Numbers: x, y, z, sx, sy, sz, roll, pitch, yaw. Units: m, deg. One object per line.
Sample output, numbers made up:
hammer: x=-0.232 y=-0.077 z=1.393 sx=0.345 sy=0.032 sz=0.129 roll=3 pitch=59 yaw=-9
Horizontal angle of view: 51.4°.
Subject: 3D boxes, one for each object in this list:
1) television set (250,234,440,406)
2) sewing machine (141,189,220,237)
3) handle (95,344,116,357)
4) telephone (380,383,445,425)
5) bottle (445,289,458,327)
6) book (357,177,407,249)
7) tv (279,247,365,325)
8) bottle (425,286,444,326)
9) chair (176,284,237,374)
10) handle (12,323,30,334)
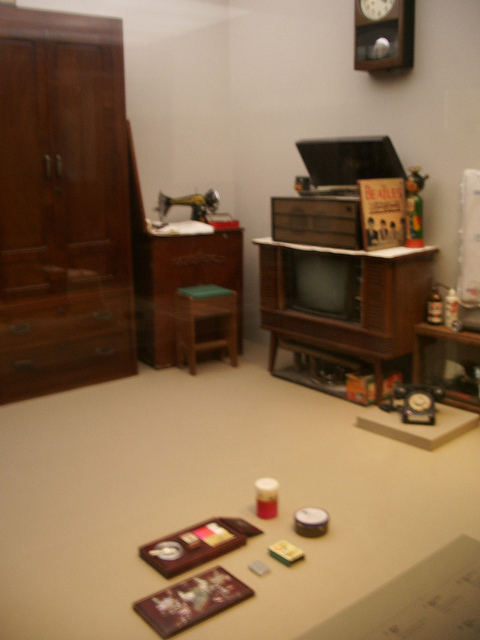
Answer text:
television set: x=0.531 y=-0.003 z=2.237 sx=0.446 sy=0.688 sz=0.902 roll=-12 pitch=18 yaw=-35
sewing machine: x=-0.197 y=-0.358 z=1.672 sx=0.171 sy=0.140 sz=0.146 roll=15 pitch=20 yaw=38
handle: x=-0.310 y=0.071 z=1.148 sx=0.018 sy=0.015 sz=0.074 roll=-13 pitch=-3 yaw=6
telephone: x=0.635 y=0.292 z=1.875 sx=0.154 sy=0.141 sz=0.174 roll=8 pitch=16 yaw=30
bottle: x=0.833 y=-0.042 z=1.971 sx=0.048 sy=0.149 sz=0.142 roll=8 pitch=9 yaw=23
book: x=0.546 y=-0.421 z=1.946 sx=0.226 sy=0.271 sz=0.025 roll=-18 pitch=18 yaw=-26
tv: x=0.414 y=-0.186 z=2.241 sx=0.431 sy=0.309 sz=0.244 roll=13 pitch=27 yaw=36
bottle: x=0.789 y=-0.056 z=2.035 sx=0.079 sy=0.155 sz=0.066 roll=-3 pitch=11 yaw=-42
chair: x=-0.136 y=0.043 z=2.013 sx=0.214 sy=0.324 sz=0.156 roll=-9 pitch=11 yaw=-35
handle: x=-0.397 y=0.016 z=0.907 sx=0.020 sy=0.012 sz=0.005 roll=-17 pitch=22 yaw=-39
